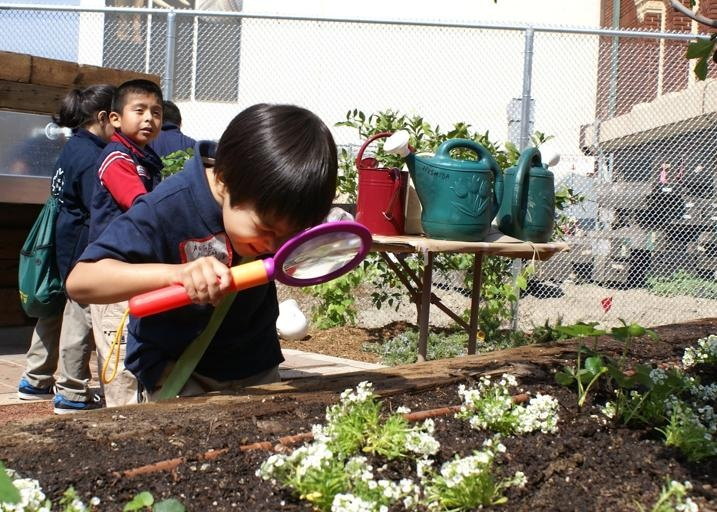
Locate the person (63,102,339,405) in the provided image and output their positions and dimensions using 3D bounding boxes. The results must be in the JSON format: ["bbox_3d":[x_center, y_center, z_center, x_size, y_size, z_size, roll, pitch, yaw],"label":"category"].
[{"bbox_3d":[-0.590,0.042,2.265,0.883,1.204,0.638,0,8,-21],"label":"person"}]

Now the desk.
[{"bbox_3d":[0.568,0.074,4.119,1.368,0.667,0.898,-2,9,-23],"label":"desk"}]
